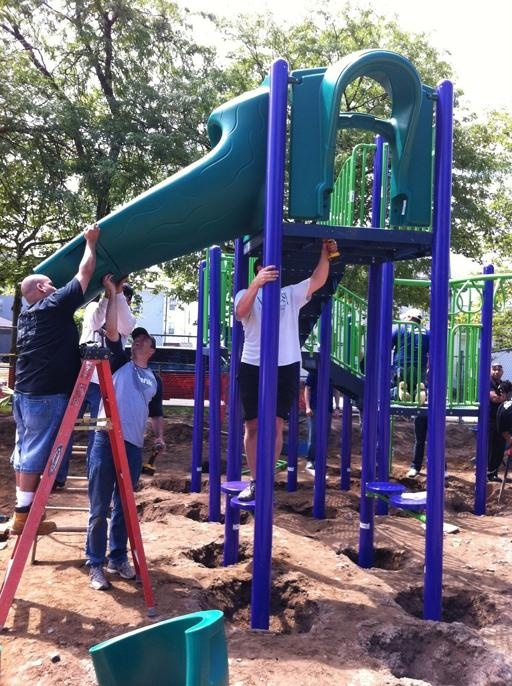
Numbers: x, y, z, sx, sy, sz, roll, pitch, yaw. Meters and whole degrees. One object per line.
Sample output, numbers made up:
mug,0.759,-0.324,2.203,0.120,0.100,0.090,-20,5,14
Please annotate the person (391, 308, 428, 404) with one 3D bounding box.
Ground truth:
person,1.760,0.159,7.961,0.409,1.011,1.006,3,2,13

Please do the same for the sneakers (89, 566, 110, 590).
sneakers,-0.957,1.458,4.234,0.071,0.081,0.181,4,-5,-26

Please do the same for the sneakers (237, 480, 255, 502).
sneakers,-0.066,0.929,4.299,0.102,0.093,0.267,2,2,-2

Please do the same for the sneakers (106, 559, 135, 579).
sneakers,-0.875,1.465,4.476,0.208,0.100,0.086,12,2,24

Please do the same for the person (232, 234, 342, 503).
person,0.171,0.162,4.396,0.651,1.639,1.043,2,2,-2

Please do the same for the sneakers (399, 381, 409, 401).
sneakers,1.654,0.557,7.759,0.119,0.238,0.082,-6,-10,23

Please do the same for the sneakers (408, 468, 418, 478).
sneakers,1.961,1.653,8.693,0.082,0.103,0.234,0,-15,7
